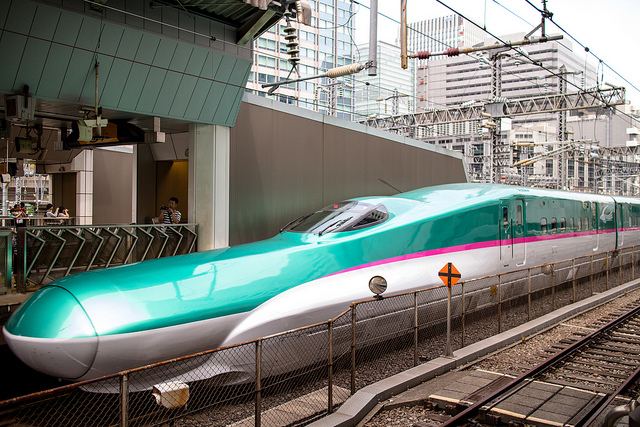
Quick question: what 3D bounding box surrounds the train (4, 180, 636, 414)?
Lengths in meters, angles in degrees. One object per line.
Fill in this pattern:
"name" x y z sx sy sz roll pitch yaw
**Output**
"train" 1.325 1.493 14.000 15.325 4.474 4.193 -1 4 -41
